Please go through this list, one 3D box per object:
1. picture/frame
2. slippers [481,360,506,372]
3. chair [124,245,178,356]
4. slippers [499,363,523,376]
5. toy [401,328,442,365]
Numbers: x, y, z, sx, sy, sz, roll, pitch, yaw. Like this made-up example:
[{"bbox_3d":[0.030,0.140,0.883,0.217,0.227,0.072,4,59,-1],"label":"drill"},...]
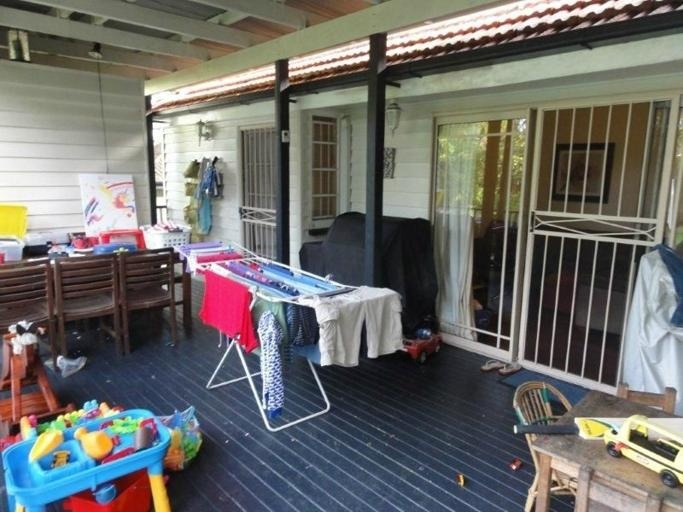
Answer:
[{"bbox_3d":[2.511,-0.877,4.829,0.635,0.722,0.036,10,16,42],"label":"picture/frame"},{"bbox_3d":[1.700,1.231,5.268,0.223,0.070,0.118,-14,20,-23],"label":"slippers"},{"bbox_3d":[-2.380,0.488,5.769,0.697,1.188,0.693,-7,13,-27],"label":"chair"},{"bbox_3d":[1.860,1.250,5.184,0.264,0.068,0.108,-16,21,-33],"label":"slippers"},{"bbox_3d":[0.937,1.047,5.442,0.285,0.226,0.477,3,8,45],"label":"toy"}]
